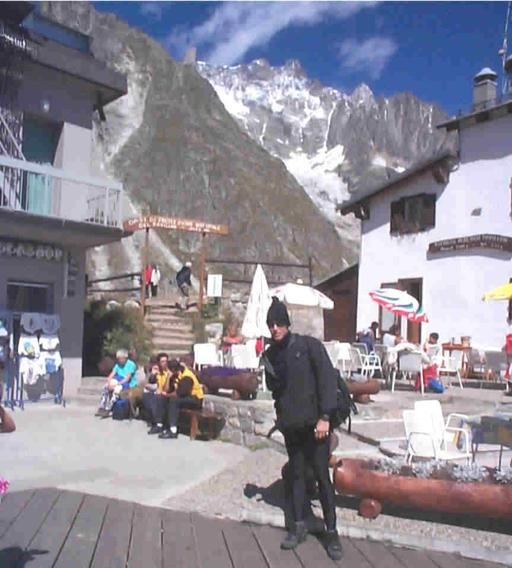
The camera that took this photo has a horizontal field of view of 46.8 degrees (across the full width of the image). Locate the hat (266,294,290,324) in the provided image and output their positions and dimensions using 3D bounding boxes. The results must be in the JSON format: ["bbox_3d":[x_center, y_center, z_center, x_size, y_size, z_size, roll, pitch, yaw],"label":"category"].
[{"bbox_3d":[0.180,0.199,4.494,0.114,0.221,0.207,-2,-12,4],"label":"hat"}]

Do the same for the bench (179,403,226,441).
[{"bbox_3d":[-0.804,2.003,8.516,0.492,0.405,1.110,3,-5,-25],"label":"bench"}]

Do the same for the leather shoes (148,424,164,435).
[{"bbox_3d":[-1.462,2.122,8.602,0.231,0.142,0.096,0,-4,16],"label":"leather shoes"}]

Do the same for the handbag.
[{"bbox_3d":[0.552,0.749,4.351,0.316,0.664,0.546,-4,4,12],"label":"handbag"}]

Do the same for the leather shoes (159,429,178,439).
[{"bbox_3d":[-1.248,2.094,8.340,0.203,0.137,0.116,4,-5,6],"label":"leather shoes"}]

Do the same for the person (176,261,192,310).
[{"bbox_3d":[-2.734,-0.014,22.871,0.392,1.761,0.548,-3,-1,-29],"label":"person"}]

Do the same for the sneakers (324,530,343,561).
[{"bbox_3d":[0.543,1.824,4.125,0.095,0.163,0.187,2,-4,-10],"label":"sneakers"}]

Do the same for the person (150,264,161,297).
[{"bbox_3d":[-3.730,-0.147,21.692,0.303,1.198,1.203,1,-4,-11],"label":"person"}]

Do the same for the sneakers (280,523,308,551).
[{"bbox_3d":[0.287,1.826,4.280,0.080,0.154,0.278,-4,-16,26],"label":"sneakers"}]

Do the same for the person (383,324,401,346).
[{"bbox_3d":[2.915,1.106,12.730,0.317,0.511,1.512,0,-5,11],"label":"person"}]
